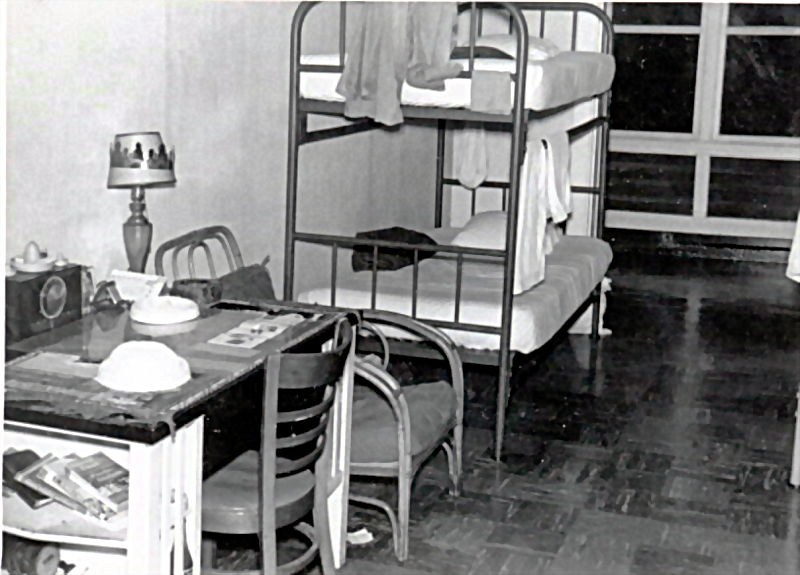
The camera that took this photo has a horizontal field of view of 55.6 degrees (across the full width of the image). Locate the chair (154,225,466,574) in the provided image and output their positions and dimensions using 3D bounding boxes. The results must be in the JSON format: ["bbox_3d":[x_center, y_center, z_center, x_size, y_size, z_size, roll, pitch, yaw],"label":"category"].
[{"bbox_3d":[-0.264,0.276,3.953,1.367,2.000,1.183,4,13,18],"label":"chair"}]

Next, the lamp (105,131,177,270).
[{"bbox_3d":[-0.979,-0.330,2.931,0.249,0.523,0.190,-8,16,-19],"label":"lamp"}]

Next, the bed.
[{"bbox_3d":[0.275,-0.295,4.035,1.431,2.297,2.488,2,11,17],"label":"bed"}]

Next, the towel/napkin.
[{"bbox_3d":[0.761,-0.382,4.067,0.151,0.637,0.895,3,27,22],"label":"towel/napkin"}]

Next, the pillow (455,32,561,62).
[{"bbox_3d":[0.602,-1.330,4.285,0.506,0.125,0.404,4,19,13],"label":"pillow"}]
